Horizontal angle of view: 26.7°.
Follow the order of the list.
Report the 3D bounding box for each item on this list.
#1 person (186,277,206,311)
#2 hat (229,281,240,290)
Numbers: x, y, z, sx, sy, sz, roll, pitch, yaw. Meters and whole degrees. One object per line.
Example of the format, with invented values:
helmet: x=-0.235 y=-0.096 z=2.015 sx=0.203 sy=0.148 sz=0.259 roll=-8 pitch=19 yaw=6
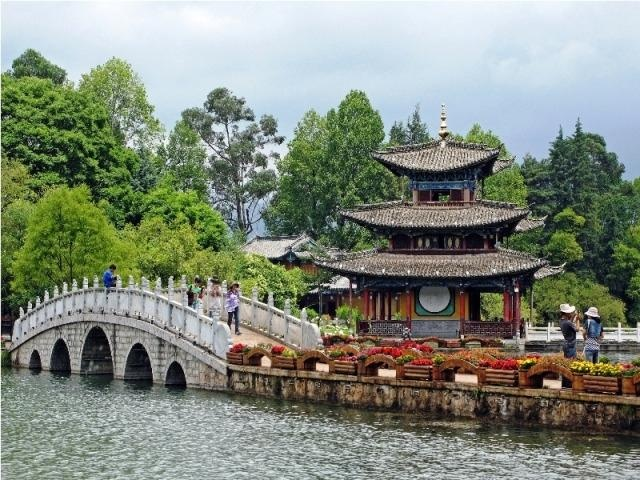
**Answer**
person: x=-5.819 y=2.546 z=64.764 sx=0.695 sy=0.605 sz=1.782 roll=5 pitch=-52 yaw=3
hat: x=-4.373 y=2.198 z=68.466 sx=0.525 sy=0.185 sz=0.649 roll=1 pitch=-13 yaw=-5
